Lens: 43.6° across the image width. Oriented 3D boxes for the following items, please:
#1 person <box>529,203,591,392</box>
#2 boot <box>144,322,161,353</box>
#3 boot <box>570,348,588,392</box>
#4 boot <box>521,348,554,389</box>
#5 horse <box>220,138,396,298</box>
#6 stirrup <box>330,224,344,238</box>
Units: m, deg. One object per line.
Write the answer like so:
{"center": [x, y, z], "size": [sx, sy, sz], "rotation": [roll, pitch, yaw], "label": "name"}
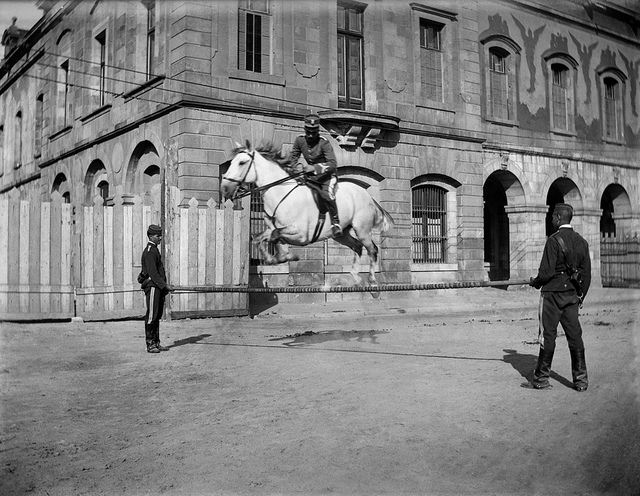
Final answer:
{"center": [4.482, 0.877, 14.905], "size": [1.081, 3.273, 1.243], "rotation": [2, 9, 12], "label": "person"}
{"center": [-3.568, 1.902, 17.036], "size": [0.247, 0.608, 0.254], "rotation": [-3, 9, -18], "label": "boot"}
{"center": [4.747, 2.214, 14.619], "size": [0.329, 0.741, 0.267], "rotation": [3, 9, 20], "label": "boot"}
{"center": [4.016, 2.259, 14.671], "size": [0.664, 0.968, 0.434], "rotation": [6, -4, 15], "label": "boot"}
{"center": [-0.046, -0.478, 16.583], "size": [3.950, 3.392, 1.021], "rotation": [-2, 1, -28], "label": "horse"}
{"center": [0.339, -0.365, 16.269], "size": [0.213, 0.234, 0.068], "rotation": [3, -1, -20], "label": "stirrup"}
